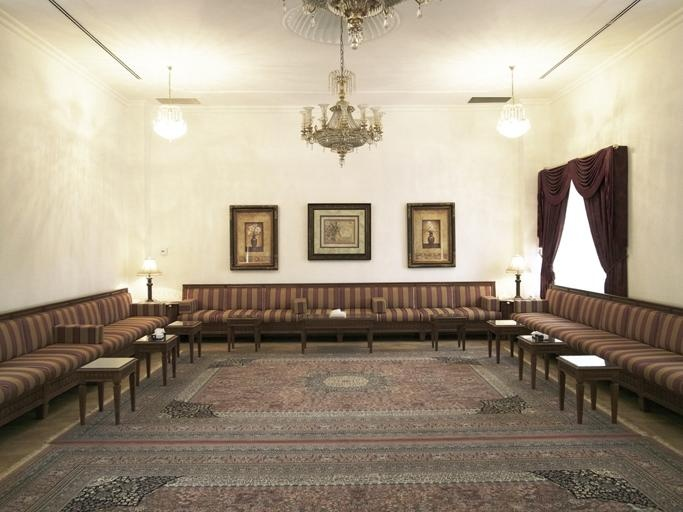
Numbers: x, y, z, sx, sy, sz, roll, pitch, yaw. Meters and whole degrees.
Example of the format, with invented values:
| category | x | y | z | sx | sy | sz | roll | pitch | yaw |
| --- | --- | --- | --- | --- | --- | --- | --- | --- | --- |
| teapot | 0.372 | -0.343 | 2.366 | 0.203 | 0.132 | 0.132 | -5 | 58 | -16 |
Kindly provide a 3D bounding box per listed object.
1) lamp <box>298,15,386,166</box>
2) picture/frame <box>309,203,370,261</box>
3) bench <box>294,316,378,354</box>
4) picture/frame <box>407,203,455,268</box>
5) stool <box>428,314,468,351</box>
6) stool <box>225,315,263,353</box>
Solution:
| category | x | y | z | sx | sy | sz | roll | pitch | yaw |
| --- | --- | --- | --- | --- | --- | --- | --- | --- | --- |
| lamp | 0.010 | -2.717 | 7.054 | 1.274 | 2.347 | 1.124 | -1 | 6 | -7 |
| picture/frame | -0.040 | -0.546 | 9.983 | 1.225 | 1.065 | 0.100 | 0 | -1 | -1 |
| bench | -0.082 | 1.375 | 8.385 | 1.255 | 0.657 | 0.361 | -1 | 8 | -2 |
| picture/frame | 1.875 | -0.445 | 10.012 | 1.415 | 1.795 | 0.129 | 0 | 0 | -2 |
| stool | 1.950 | 1.378 | 8.670 | 0.648 | 0.581 | 0.638 | 0 | -6 | 0 |
| stool | -1.837 | 1.461 | 8.928 | 0.658 | 0.610 | 0.648 | 0 | -6 | -4 |
